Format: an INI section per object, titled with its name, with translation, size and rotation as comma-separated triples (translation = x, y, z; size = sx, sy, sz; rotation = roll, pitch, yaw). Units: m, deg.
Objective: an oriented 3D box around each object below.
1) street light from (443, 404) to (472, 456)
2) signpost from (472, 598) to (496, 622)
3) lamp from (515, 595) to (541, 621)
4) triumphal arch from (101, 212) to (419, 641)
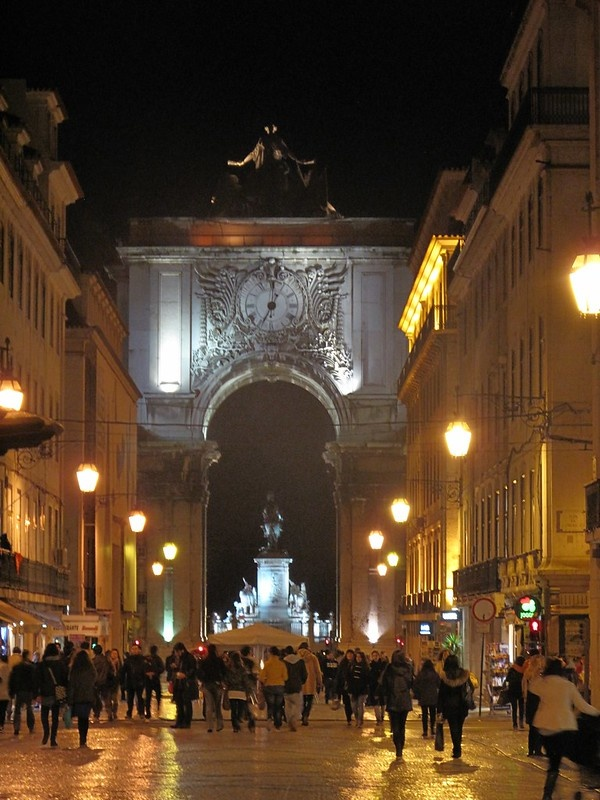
[street light]
translation = 3.049, 0.648, 34.278
size = 0.430, 1.169, 1.822
rotation = -3, -17, 7
[signpost]
translation = 3.962, 4.604, 38.498
size = 0.457, 0.595, 1.245
rotation = -3, -18, 5
[lamp]
translation = 5.203, 4.731, 40.296
size = 0.493, 0.533, 0.987
rotation = -2, -18, 2
[triumphal arch]
translation = -1.586, 1.820, 99.541
size = 16.229, 6.689, 31.258
rotation = -1, -59, -2
